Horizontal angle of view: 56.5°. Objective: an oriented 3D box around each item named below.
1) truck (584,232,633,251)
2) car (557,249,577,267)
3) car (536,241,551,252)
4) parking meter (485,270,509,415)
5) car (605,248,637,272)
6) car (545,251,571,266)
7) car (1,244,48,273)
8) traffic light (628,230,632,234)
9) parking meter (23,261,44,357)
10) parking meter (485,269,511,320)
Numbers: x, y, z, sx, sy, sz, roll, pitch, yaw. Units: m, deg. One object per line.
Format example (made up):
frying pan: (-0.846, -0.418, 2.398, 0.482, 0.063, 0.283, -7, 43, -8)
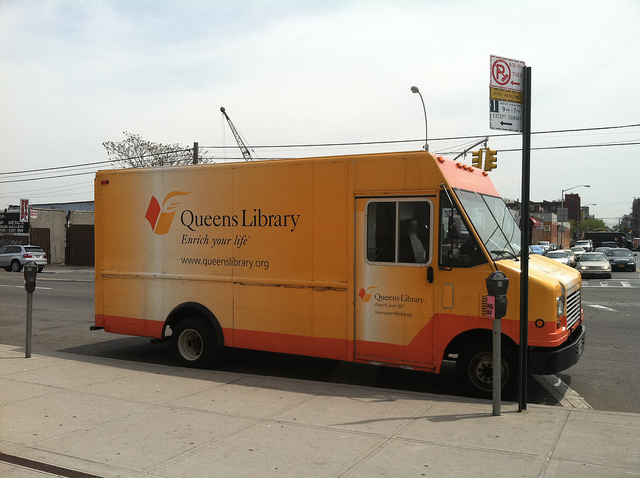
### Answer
truck: (34.767, 0.252, 71.900, 3.000, 1.894, 2.378, -2, 0, 24)
car: (16.731, 1.215, 39.672, 0.891, 1.065, 2.160, -2, -6, 15)
car: (21.396, 0.663, 56.899, 0.685, 0.780, 1.560, -2, -5, 13)
parking meter: (2.346, 1.374, 7.843, 0.302, 1.897, 0.335, 0, 1, 17)
car: (18.722, 1.194, 37.223, 1.151, 0.978, 2.658, 1, 7, 11)
car: (10.598, 0.819, 26.332, 0.891, 0.784, 2.129, -2, -4, 25)
car: (-16.590, 1.081, 33.089, 2.966, 1.273, 1.346, 4, 2, 32)
traffic light: (97.058, -2.307, 186.095, 1.066, 1.373, 1.289, 0, 11, 24)
parking meter: (-5.088, 1.252, 10.424, 0.322, 1.711, 0.403, 6, -15, -39)
parking meter: (2.295, 0.748, 7.730, 0.323, 0.639, 0.231, 0, 3, -4)
